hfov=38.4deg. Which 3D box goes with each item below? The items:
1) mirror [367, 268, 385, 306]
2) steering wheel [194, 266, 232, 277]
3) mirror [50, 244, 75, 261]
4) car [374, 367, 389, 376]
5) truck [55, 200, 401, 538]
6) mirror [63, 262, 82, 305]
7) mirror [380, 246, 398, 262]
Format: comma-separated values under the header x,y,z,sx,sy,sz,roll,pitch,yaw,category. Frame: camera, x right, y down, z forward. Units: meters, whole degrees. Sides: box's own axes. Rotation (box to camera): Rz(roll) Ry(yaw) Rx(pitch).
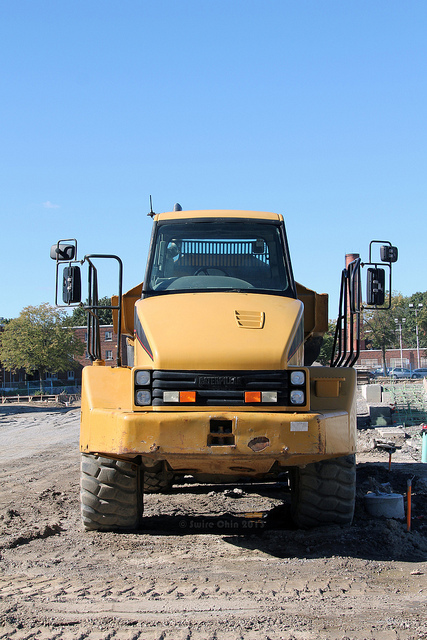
x,y,z,sx,sy,sz,roll,pitch,yaw,category
1.712,-0.341,6.400,0.199,0.349,0.232,-2,-1,38,mirror
-0.010,-0.492,6.286,0.373,0.085,0.107,-2,-1,-3,steering wheel
-1.583,-0.698,6.360,0.251,0.102,0.127,-2,-1,22,mirror
23.228,7.435,85.003,1.659,0.981,2.572,-2,6,7,car
0.159,0.714,7.364,3.110,3.503,5.400,0,-9,2,truck
-1.486,-0.380,6.455,0.124,0.558,0.236,0,4,32,mirror
1.804,-0.676,6.345,0.133,0.151,0.287,-2,-1,36,mirror
